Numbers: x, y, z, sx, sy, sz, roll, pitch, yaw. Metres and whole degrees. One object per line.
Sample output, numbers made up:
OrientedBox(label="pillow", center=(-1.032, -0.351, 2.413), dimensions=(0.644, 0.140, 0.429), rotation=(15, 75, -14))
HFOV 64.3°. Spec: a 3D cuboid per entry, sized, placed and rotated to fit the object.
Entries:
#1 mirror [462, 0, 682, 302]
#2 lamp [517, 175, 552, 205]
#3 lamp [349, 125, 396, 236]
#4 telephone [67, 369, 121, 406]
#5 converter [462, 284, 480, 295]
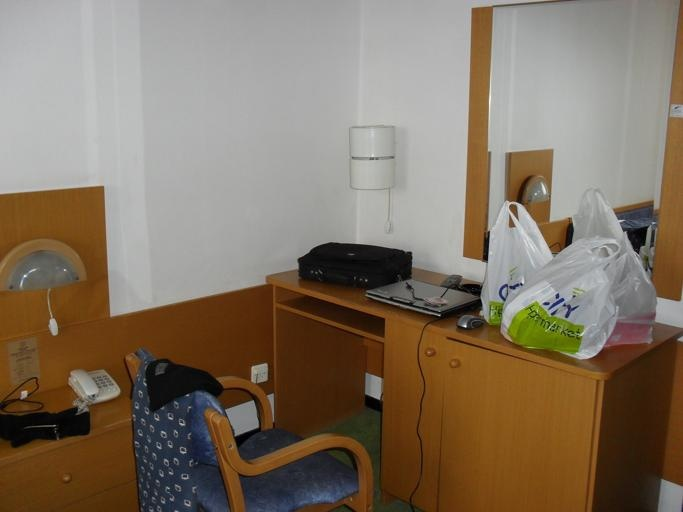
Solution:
OrientedBox(label="mirror", center=(1.119, -0.518, 2.542), dimensions=(0.031, 1.559, 1.244), rotation=(-9, 14, -36))
OrientedBox(label="lamp", center=(0.999, -0.343, 2.795), dimensions=(0.064, 0.195, 0.182), rotation=(0, 1, -37))
OrientedBox(label="lamp", center=(0.172, -0.579, 3.188), dimensions=(0.264, 0.352, 0.141), rotation=(-1, 11, 4))
OrientedBox(label="telephone", center=(-1.144, 0.573, 2.522), dimensions=(0.170, 0.073, 0.175), rotation=(-8, 39, -40))
OrientedBox(label="converter", center=(0.688, 0.173, 2.860), dimensions=(0.060, 0.016, 0.056), rotation=(13, 18, 43))
